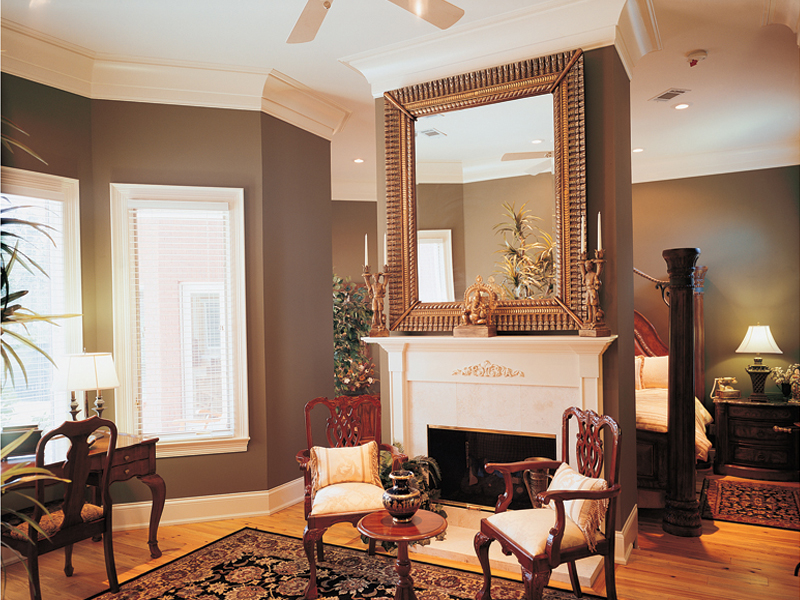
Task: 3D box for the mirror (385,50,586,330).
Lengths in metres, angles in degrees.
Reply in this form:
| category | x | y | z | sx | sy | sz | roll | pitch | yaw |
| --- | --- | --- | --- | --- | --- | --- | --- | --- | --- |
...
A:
| category | x | y | z | sx | sy | sz | roll | pitch | yaw |
| --- | --- | --- | --- | --- | --- | --- | --- | --- | --- |
| mirror | 0.779 | -0.919 | 5.219 | 2.413 | 2.742 | 0.210 | -2 | -5 | 26 |

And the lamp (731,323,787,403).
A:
| category | x | y | z | sx | sy | sz | roll | pitch | yaw |
| --- | --- | --- | --- | --- | --- | --- | --- | --- | --- |
| lamp | 4.291 | 0.752 | 7.507 | 0.574 | 0.839 | 0.560 | -7 | -15 | 42 |

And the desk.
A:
| category | x | y | z | sx | sy | sz | roll | pitch | yaw |
| --- | --- | --- | --- | --- | --- | --- | --- | --- | --- |
| desk | -2.417 | 1.676 | 5.206 | 0.862 | 0.942 | 1.098 | -3 | -15 | -20 |

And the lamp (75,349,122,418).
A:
| category | x | y | z | sx | sy | sz | roll | pitch | yaw |
| --- | --- | --- | --- | --- | --- | --- | --- | --- | --- |
| lamp | -2.451 | 0.703 | 5.116 | 0.323 | 0.545 | 0.551 | -1 | -1 | -16 |

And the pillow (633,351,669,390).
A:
| category | x | y | z | sx | sy | sz | roll | pitch | yaw |
| --- | --- | --- | --- | --- | --- | --- | --- | --- | --- |
| pillow | 3.011 | 0.871 | 7.470 | 0.538 | 0.519 | 0.226 | 2 | -20 | 27 |

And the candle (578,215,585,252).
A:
| category | x | y | z | sx | sy | sz | roll | pitch | yaw |
| --- | --- | --- | --- | --- | --- | --- | --- | --- | --- |
| candle | 1.436 | -0.506 | 4.891 | 0.054 | 0.284 | 0.164 | -2 | -1 | 16 |

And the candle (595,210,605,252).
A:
| category | x | y | z | sx | sy | sz | roll | pitch | yaw |
| --- | --- | --- | --- | --- | --- | --- | --- | --- | --- |
| candle | 1.548 | -0.525 | 4.849 | 0.049 | 0.316 | 0.154 | -2 | -1 | 18 |
